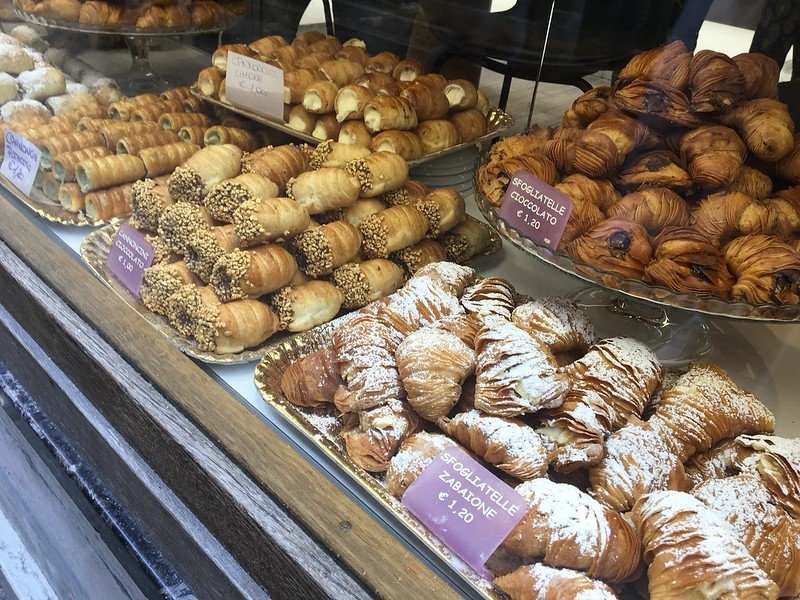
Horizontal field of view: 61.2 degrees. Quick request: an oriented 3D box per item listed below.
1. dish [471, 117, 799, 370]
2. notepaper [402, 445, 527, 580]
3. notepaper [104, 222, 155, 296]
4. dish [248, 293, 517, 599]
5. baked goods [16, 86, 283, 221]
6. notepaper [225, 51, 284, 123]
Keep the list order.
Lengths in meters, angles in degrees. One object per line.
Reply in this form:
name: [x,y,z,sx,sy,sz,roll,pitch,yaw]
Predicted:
dish: [0.531,-0.024,1.565,0.644,0.249,0.673,3,41,-9]
notepaper: [0.119,0.380,1.243,0.205,0.107,0.125,36,47,26]
notepaper: [-0.682,-0.080,1.711,0.023,0.122,0.123,44,45,3]
dish: [-0.091,0.304,1.385,0.574,0.084,0.391,35,46,21]
baked goods: [-0.800,-0.464,2.069,0.647,0.164,0.492,-24,46,-32]
notepaper: [-0.435,-0.655,2.022,0.197,0.148,0.011,25,34,17]
